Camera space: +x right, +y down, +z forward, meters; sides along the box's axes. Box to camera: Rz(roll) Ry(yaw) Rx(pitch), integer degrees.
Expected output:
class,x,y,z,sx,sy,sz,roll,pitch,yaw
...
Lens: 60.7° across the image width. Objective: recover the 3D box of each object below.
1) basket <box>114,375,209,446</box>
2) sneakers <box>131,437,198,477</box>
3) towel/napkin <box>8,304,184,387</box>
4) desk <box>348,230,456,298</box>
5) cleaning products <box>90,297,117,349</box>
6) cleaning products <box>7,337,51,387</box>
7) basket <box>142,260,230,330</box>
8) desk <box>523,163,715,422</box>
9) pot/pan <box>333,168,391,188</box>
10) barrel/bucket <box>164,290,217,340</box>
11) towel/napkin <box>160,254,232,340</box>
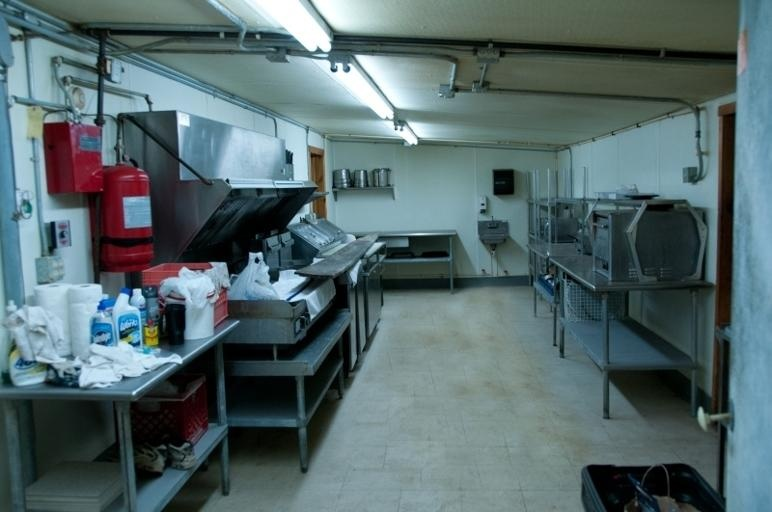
class,x,y,z,sx,sy,sz,roll,pitch,yaw
basket,-1.340,0.988,4.181,0.303,0.340,0.502,-2,-2,10
sneakers,-1.295,1.171,3.845,0.394,0.166,0.142,5,-2,-20
towel/napkin,-1.604,0.438,3.478,0.616,0.271,0.439,0,3,0
desk,0.459,0.071,9.588,1.104,0.905,0.747,-1,13,5
cleaning products,-1.531,0.376,3.562,0.141,0.319,0.084,4,26,-13
cleaning products,-1.865,0.570,3.405,0.177,0.197,0.089,-2,13,1
basket,-1.272,0.224,4.161,0.420,0.267,0.417,-1,1,-6
desk,2.051,0.189,6.164,0.968,1.738,2.680,-2,14,3
pot/pan,-0.359,-1.122,9.592,0.868,0.292,0.245,-3,13,-5
barrel/bucket,-1.110,0.342,3.868,0.260,0.251,0.265,0,5,0
towel/napkin,-1.141,0.282,3.947,0.349,0.283,0.418,0,1,0
